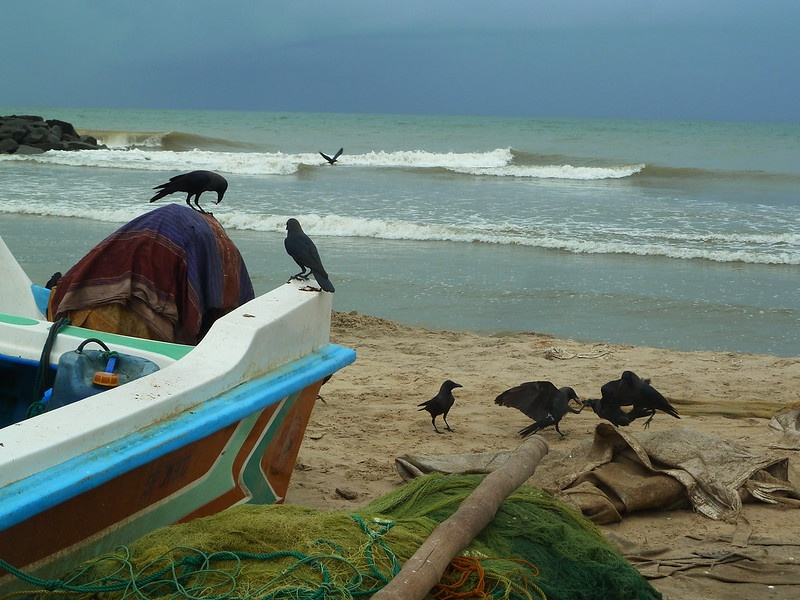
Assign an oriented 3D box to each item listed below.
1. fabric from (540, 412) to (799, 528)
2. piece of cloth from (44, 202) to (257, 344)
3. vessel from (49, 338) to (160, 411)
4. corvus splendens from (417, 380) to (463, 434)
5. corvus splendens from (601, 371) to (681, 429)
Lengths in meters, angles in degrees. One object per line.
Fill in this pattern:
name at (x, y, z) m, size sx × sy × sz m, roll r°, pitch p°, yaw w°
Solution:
fabric at (1.982, 1.317, 7.556) m, size 1.215 × 0.313 × 1.064 m, roll -1°, pitch 1°, yaw -19°
piece of cloth at (-1.892, -0.235, 7.482) m, size 1.434 × 1.019 × 1.766 m, roll 12°, pitch 9°, yaw 9°
vessel at (-1.797, 0.409, 6.081) m, size 0.397 × 0.458 × 0.631 m, roll 19°, pitch 27°, yaw 34°
corvus splendens at (0.336, 0.930, 8.981) m, size 0.316 × 0.407 × 0.493 m, roll 6°, pitch 11°, yaw 2°
corvus splendens at (2.099, 0.862, 8.624) m, size 0.720 × 0.270 × 0.400 m, roll 15°, pitch -31°, yaw -38°
